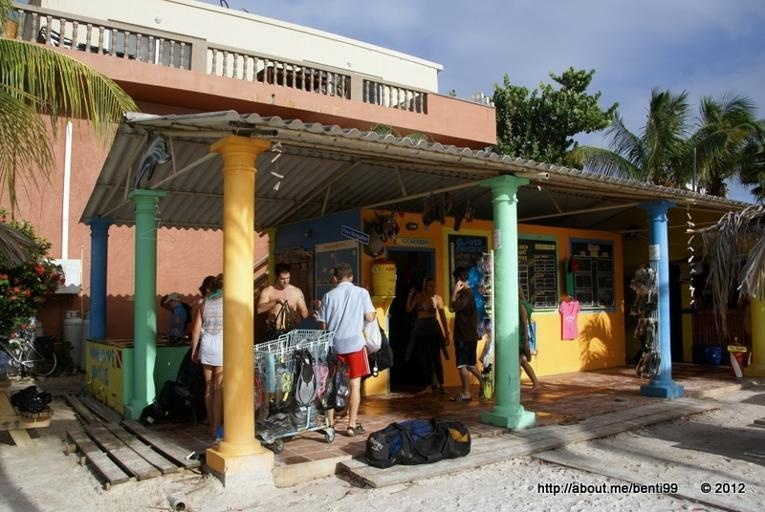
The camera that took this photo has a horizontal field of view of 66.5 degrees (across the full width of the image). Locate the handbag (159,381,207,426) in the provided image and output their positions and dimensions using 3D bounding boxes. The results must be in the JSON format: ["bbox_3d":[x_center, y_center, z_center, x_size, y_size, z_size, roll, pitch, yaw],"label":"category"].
[{"bbox_3d":[-3.274,2.362,9.436,0.578,0.792,0.330,7,10,3],"label":"handbag"}]

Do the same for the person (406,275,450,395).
[{"bbox_3d":[0.882,1.588,11.791,0.831,2.383,1.124,0,4,3],"label":"person"}]

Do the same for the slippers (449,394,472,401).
[{"bbox_3d":[1.403,2.612,10.740,0.284,0.096,0.156,4,-10,-13],"label":"slippers"}]

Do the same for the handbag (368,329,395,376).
[{"bbox_3d":[-0.033,1.591,9.942,0.540,1.045,0.852,-4,-5,-1],"label":"handbag"}]

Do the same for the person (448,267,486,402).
[{"bbox_3d":[1.542,1.465,10.946,0.563,2.423,0.755,0,4,7],"label":"person"}]

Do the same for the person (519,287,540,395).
[{"bbox_3d":[2.892,1.675,11.670,0.375,1.962,1.255,0,4,14],"label":"person"}]

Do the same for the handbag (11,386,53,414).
[{"bbox_3d":[-5.747,2.275,9.430,0.584,0.224,0.421,8,0,44],"label":"handbag"}]

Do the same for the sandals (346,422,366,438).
[{"bbox_3d":[-0.426,2.576,8.652,0.290,0.136,0.131,4,-3,-42],"label":"sandals"}]

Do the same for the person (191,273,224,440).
[{"bbox_3d":[-2.559,1.519,8.531,0.413,2.299,1.032,-2,4,-22],"label":"person"}]

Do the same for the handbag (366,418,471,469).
[{"bbox_3d":[0.373,2.461,7.833,0.971,0.367,0.658,1,-5,-20],"label":"handbag"}]

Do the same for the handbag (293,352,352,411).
[{"bbox_3d":[-0.878,1.754,8.077,0.796,0.805,0.230,6,-6,-39],"label":"handbag"}]

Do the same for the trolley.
[{"bbox_3d":[-1.453,1.881,8.183,1.580,1.650,1.045,5,-13,-44],"label":"trolley"}]
